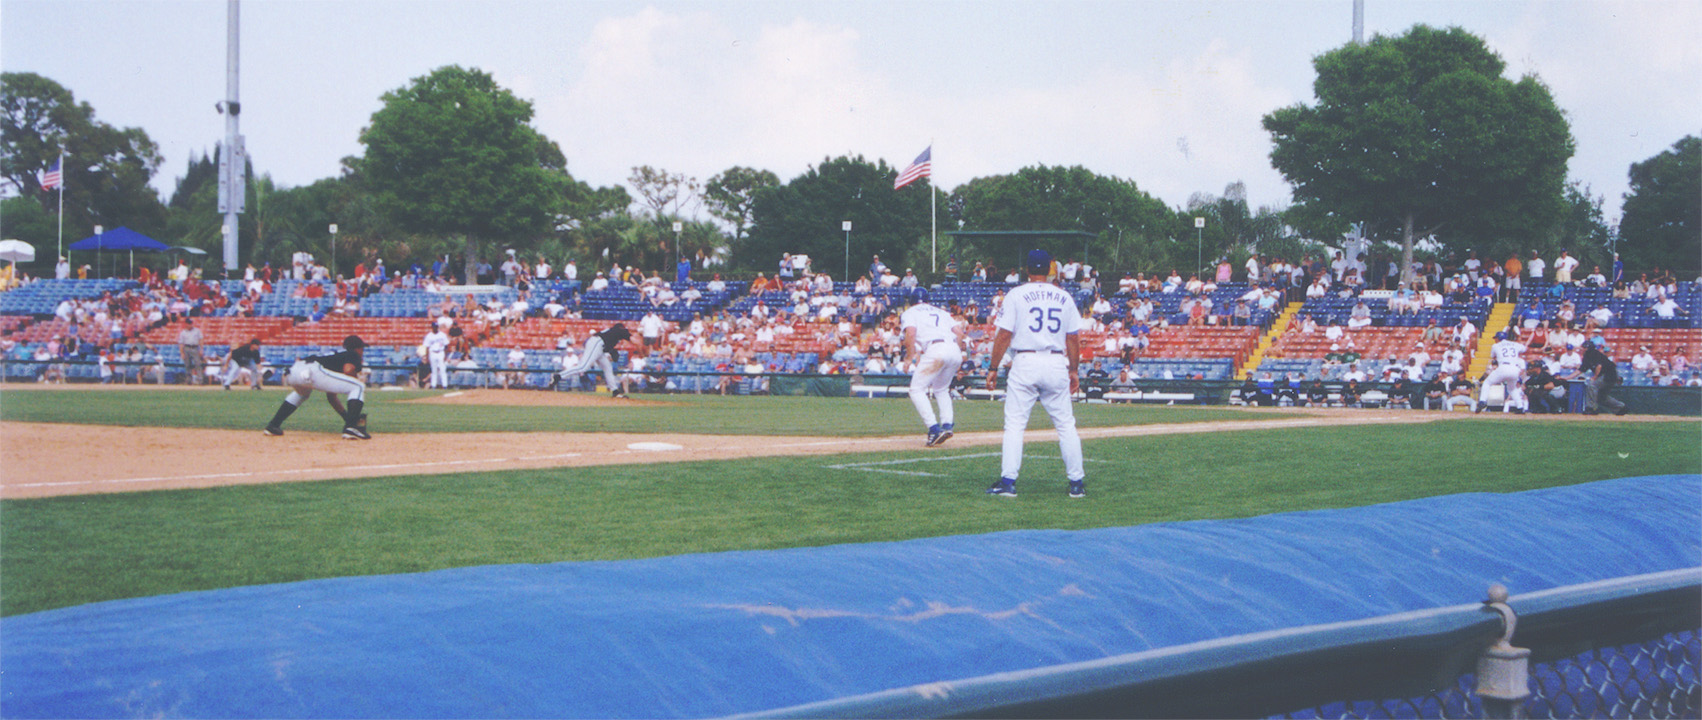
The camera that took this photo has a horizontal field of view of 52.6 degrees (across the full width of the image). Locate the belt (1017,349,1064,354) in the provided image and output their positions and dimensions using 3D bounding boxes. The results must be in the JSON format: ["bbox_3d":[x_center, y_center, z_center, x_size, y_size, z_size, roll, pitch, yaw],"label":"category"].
[{"bbox_3d":[7.868,-0.356,70.791,1.736,0.139,0.167,1,2,-5],"label":"belt"}]

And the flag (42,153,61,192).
[{"bbox_3d":[-46.516,-11.057,99.610,1.179,1.755,3.122,2,2,-26],"label":"flag"}]
